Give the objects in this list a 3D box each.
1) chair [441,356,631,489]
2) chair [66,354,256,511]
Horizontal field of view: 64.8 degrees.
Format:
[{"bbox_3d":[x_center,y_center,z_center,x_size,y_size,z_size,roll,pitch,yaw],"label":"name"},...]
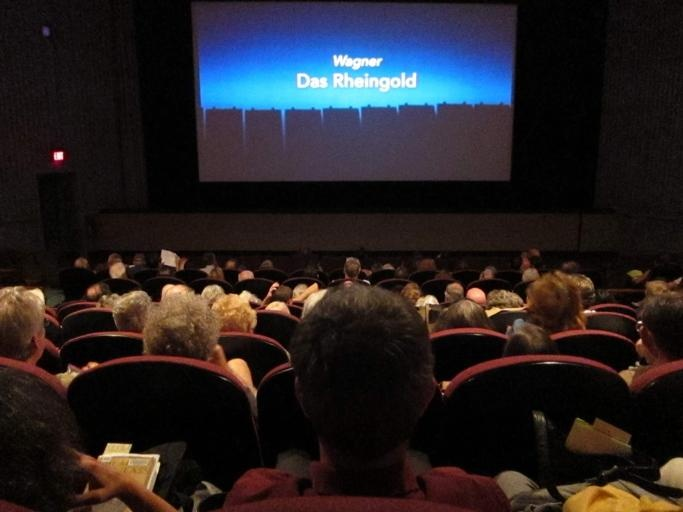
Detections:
[{"bbox_3d":[0.748,0.528,2.274,0.479,0.707,0.572,0,26,8],"label":"chair"},{"bbox_3d":[-0.654,0.587,2.182,0.445,0.695,0.552,3,23,2],"label":"chair"}]
